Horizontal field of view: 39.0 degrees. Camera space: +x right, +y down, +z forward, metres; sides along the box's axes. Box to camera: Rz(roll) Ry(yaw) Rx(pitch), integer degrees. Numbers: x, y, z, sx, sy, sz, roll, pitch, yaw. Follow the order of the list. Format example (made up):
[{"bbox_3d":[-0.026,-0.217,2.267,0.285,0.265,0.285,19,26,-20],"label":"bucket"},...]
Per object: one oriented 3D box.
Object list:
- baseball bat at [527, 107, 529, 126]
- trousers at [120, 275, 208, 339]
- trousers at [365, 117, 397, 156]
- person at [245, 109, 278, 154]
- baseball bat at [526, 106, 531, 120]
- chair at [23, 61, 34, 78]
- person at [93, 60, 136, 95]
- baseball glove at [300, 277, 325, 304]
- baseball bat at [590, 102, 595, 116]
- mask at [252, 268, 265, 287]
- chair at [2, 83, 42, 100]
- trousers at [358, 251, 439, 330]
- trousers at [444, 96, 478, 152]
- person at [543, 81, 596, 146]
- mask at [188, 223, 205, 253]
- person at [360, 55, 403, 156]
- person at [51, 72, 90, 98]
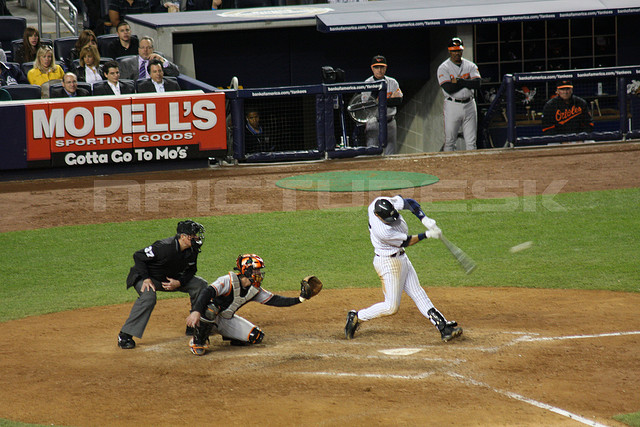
[{"bbox_3d":[5.351,-2.437,23.182,0.032,0.374,0.126,0,9,13],"label":"baseball bat"},{"bbox_3d":[-2.560,1.562,14.882,1.028,0.881,0.592,0,24,-35],"label":"trousers"},{"bbox_3d":[1.559,-1.897,22.893,0.409,0.952,1.048,6,11,42],"label":"trousers"},{"bbox_3d":[-1.482,-1.959,22.765,1.104,0.907,0.253,-7,14,-35],"label":"person"},{"bbox_3d":[5.345,-2.516,23.189,0.079,0.313,0.107,0,9,11],"label":"baseball bat"},{"bbox_3d":[-7.182,-3.516,22.220,0.274,0.330,0.347,-1,9,-19],"label":"chair"},{"bbox_3d":[-4.944,-3.082,21.596,1.238,0.889,0.566,-7,8,-31],"label":"person"},{"bbox_3d":[-0.157,1.165,14.284,0.175,0.270,0.387,-46,-5,23],"label":"baseball glove"},{"bbox_3d":[6.938,-2.592,22.955,0.052,0.299,0.154,2,9,23],"label":"baseball bat"},{"bbox_3d":[-0.907,0.997,14.217,0.271,0.219,0.208,-1,15,20],"label":"mask"},{"bbox_3d":[-6.974,-2.790,21.283,0.497,0.578,0.523,0,9,-3],"label":"chair"},{"bbox_3d":[1.227,1.178,14.477,1.210,1.164,0.394,-1,9,3],"label":"trousers"},{"bbox_3d":[3.554,-2.196,22.852,0.805,1.384,0.575,-1,9,4],"label":"trousers"},{"bbox_3d":[6.270,-2.520,22.784,1.264,1.234,0.374,-3,9,-14],"label":"person"},{"bbox_3d":[-1.966,0.404,14.361,0.239,0.498,0.302,-2,8,-4],"label":"mask"},{"bbox_3d":[1.507,-2.600,22.701,1.093,2.435,0.962,-2,9,-5],"label":"person"},{"bbox_3d":[-5.916,-2.852,21.202,0.963,0.571,0.553,-3,8,-19],"label":"person"}]
